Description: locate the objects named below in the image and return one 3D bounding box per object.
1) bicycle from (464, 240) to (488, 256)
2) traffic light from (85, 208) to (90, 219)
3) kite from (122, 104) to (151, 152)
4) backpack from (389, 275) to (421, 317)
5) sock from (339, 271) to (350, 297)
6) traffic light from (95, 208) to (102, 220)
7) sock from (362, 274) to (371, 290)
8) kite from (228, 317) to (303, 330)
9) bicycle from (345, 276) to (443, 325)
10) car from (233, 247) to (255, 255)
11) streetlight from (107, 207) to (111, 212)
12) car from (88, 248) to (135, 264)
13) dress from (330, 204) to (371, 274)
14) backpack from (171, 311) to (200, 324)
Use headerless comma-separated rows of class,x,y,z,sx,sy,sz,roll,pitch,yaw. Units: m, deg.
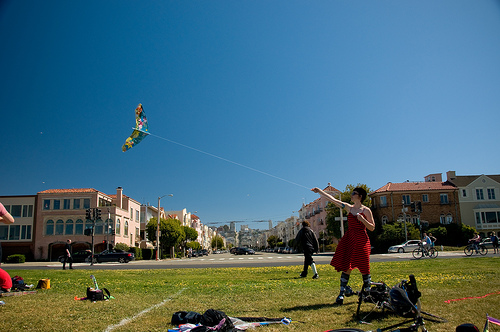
bicycle,18.686,6.680,28.912,1.428,1.136,2.210,-12,-15,35
traffic light,-17.461,5.111,37.710,0.332,0.938,0.656,3,-13,-24
kite,-4.533,-1.583,13.999,0.828,1.829,1.270,4,-13,-28
backpack,3.591,2.993,8.105,0.663,0.919,0.343,-7,-12,18
sock,2.703,3.364,9.973,0.288,0.664,0.429,-6,-12,18
traffic light,-15.995,5.033,36.595,0.301,1.254,1.209,2,-2,-27
sock,3.141,3.083,9.346,0.164,0.340,0.575,-6,-12,15
kite,0.369,3.788,8.514,1.524,0.137,0.544,1,-3,-17
bicycle,3.332,3.255,8.505,1.437,0.501,1.138,-7,-11,42
car,-1.454,17.616,71.792,3.228,1.078,2.121,-7,-11,21
streetlight,-24.228,7.420,60.086,0.424,0.797,1.051,-2,-12,-4
car,-15.674,10.370,40.284,4.000,1.295,1.357,-5,-12,9
dress,2.890,2.122,10.050,0.983,1.845,0.428,-12,-15,37
backpack,-1.553,3.739,8.620,0.477,0.150,0.302,1,-1,9
